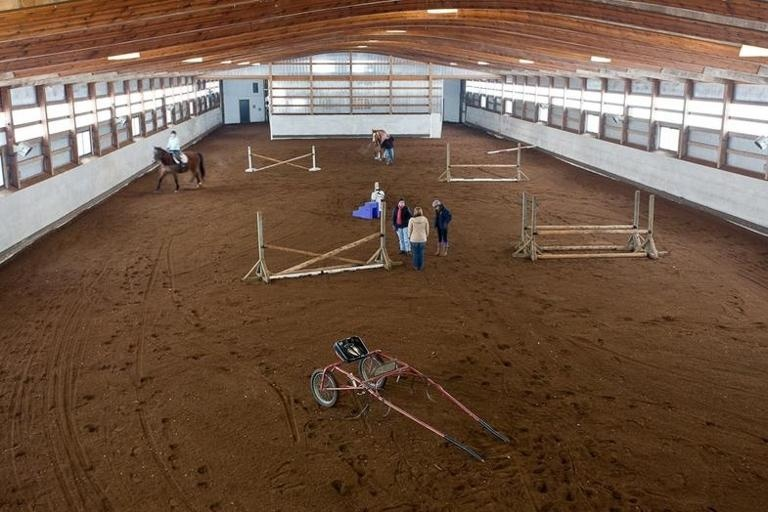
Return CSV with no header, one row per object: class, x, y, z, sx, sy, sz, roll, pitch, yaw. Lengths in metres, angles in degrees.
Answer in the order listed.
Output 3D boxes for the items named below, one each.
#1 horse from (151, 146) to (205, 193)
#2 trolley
horse,-9.400,-4.053,21.075,2.056,1.814,3.012,-11,22,-22
trolley,0.168,2.209,7.212,2.976,0.864,1.465,24,34,35
